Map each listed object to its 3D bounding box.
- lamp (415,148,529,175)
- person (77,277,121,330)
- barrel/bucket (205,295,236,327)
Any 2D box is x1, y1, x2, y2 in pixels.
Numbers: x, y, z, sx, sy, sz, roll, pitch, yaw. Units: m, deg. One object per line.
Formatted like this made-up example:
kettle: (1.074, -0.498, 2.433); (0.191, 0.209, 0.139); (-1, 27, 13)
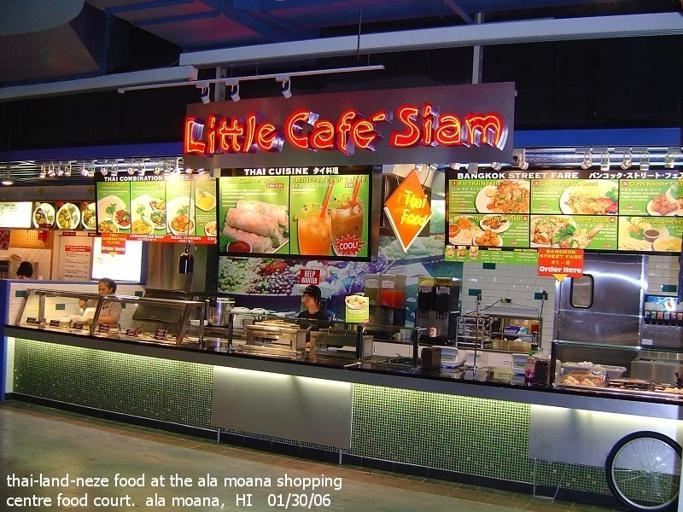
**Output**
lamp: (1.615, -0.995, 6.304); (1.950, 0.265, 0.690); (5, 5, 33)
person: (-3.053, 0.613, 7.089); (0.402, 0.827, 0.294); (-11, -45, -5)
barrel/bucket: (-1.387, 0.649, 6.582); (0.308, 0.284, 0.639); (5, -1, -39)
